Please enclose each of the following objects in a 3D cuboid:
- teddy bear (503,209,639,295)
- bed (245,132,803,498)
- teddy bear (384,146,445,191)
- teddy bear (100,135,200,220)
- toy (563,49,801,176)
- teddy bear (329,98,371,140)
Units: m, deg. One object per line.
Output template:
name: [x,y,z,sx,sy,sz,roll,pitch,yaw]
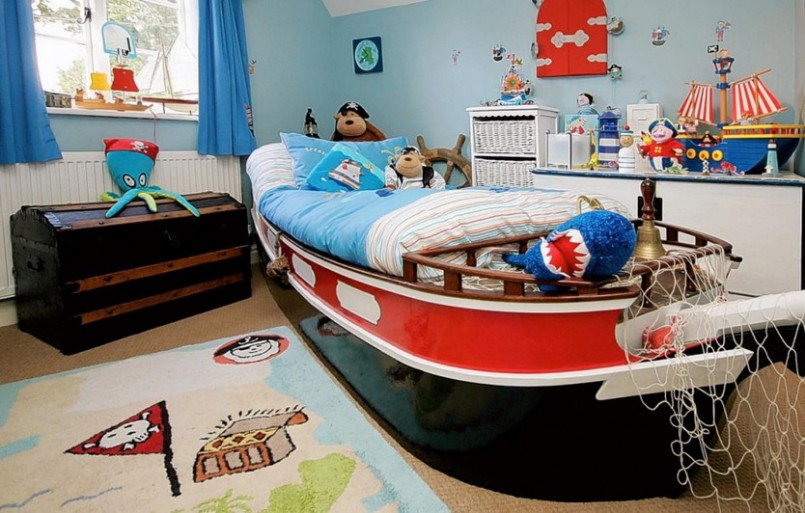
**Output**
teddy bear: [0.566,-0.035,1.810,0.484,0.234,0.283,-6,27,5]
bed: [0.205,0.130,2.381,0.993,0.814,2.494,-21,25,-40]
teddy bear: [0.056,-0.511,3.109,0.286,0.373,0.136,-3,9,7]
teddy bear: [-1.641,-0.527,3.283,0.673,0.511,0.539,12,13,36]
toy: [1.805,-0.860,3.296,0.578,0.748,1.238,-11,15,-38]
teddy bear: [-0.412,-1.030,4.067,0.286,0.379,0.357,2,7,-41]
